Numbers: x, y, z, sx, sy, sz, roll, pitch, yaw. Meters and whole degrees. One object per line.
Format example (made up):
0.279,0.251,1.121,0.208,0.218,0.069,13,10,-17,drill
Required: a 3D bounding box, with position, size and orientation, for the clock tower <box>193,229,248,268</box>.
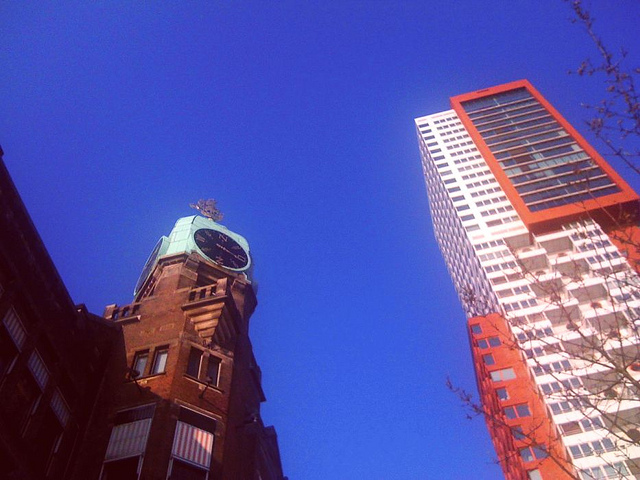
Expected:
-9.748,0.963,52.914,5.776,5.815,0.375,1,-54,-36,clock tower
